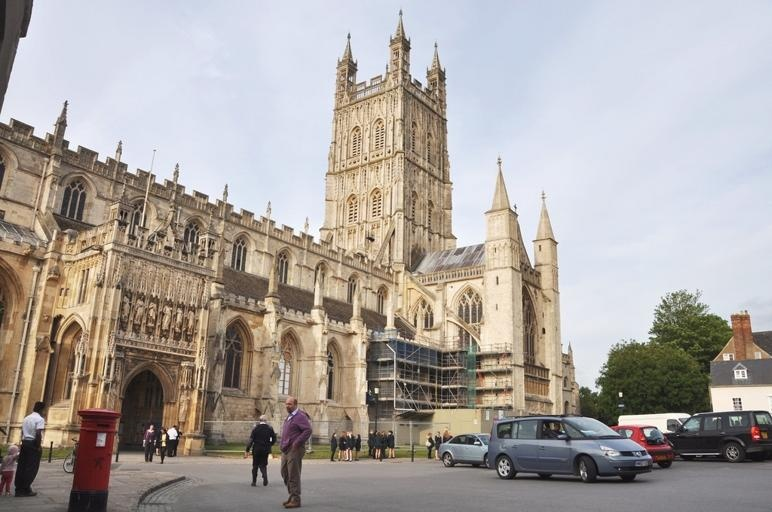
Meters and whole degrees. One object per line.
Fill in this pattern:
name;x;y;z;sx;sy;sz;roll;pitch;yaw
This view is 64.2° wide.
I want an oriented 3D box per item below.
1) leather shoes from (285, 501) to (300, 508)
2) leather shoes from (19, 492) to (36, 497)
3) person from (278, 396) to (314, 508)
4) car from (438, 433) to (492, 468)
leather shoes;-2.432;6.430;15.856;0.142;0.160;0.384;-12;-25;33
leather shoes;-9.515;6.340;16.338;0.363;0.112;0.259;9;-23;-22
person;-2.484;5.300;16.671;0.734;2.902;0.985;4;-22;-9
car;3.701;9.092;28.718;2.454;1.486;0.944;-15;-26;35
